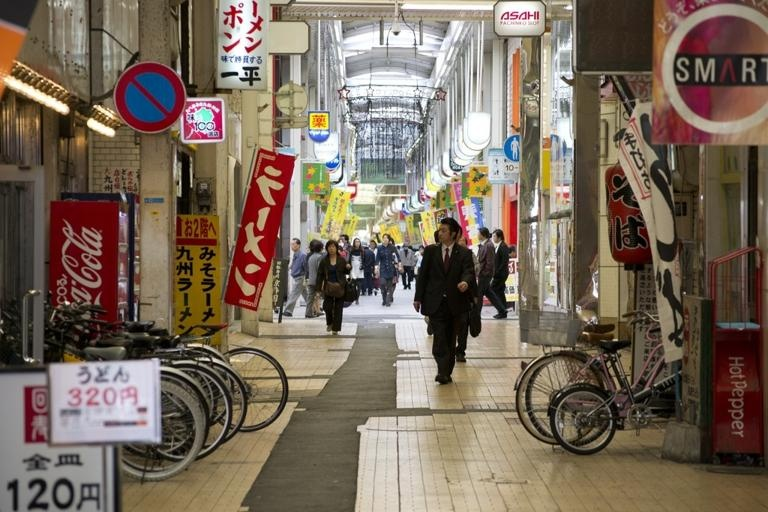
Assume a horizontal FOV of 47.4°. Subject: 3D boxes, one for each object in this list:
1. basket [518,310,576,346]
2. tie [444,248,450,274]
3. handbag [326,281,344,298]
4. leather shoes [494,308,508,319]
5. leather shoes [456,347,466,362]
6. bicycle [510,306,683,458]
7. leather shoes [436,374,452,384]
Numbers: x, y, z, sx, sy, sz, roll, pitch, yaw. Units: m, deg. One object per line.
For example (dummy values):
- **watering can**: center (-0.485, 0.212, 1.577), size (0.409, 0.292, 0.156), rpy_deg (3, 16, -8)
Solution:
- **basket**: center (1.573, 0.702, 8.448), size (0.352, 0.273, 0.398), rpy_deg (1, -3, 11)
- **tie**: center (0.777, 0.046, 10.890), size (0.066, 0.277, 0.059), rpy_deg (0, -4, 5)
- **handbag**: center (-0.909, 0.629, 16.088), size (0.229, 0.229, 0.103), rpy_deg (2, -10, -5)
- **leather shoes**: center (2.505, 1.277, 19.003), size (0.168, 0.142, 0.395), rpy_deg (29, -17, -20)
- **leather shoes**: center (1.100, 1.433, 12.545), size (0.075, 0.191, 0.245), rpy_deg (2, 5, 8)
- **bicycle**: center (1.914, 1.197, 8.261), size (1.561, 1.178, 0.916), rpy_deg (-4, 3, -1)
- **leather shoes**: center (0.738, 1.546, 10.910), size (0.081, 0.137, 0.231), rpy_deg (5, 6, 41)
